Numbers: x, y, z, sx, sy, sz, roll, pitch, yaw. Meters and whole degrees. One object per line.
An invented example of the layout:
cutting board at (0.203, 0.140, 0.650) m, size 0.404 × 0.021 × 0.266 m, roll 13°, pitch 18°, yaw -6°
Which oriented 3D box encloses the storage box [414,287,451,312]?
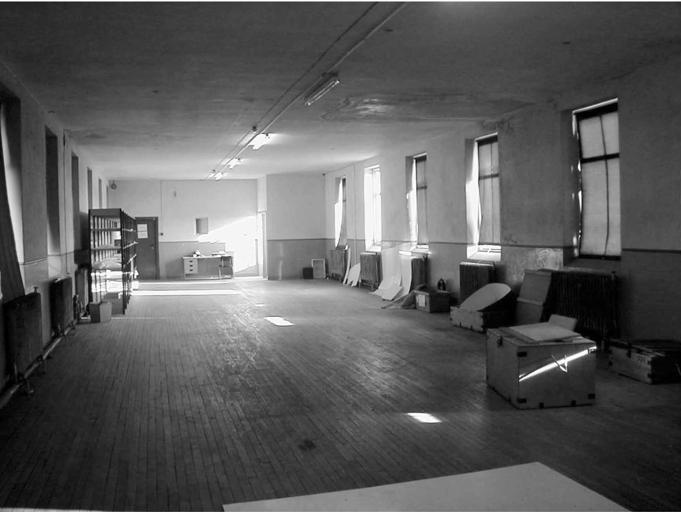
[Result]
storage box at (1.979, 0.937, 9.608) m, size 0.437 × 0.352 × 0.577 m, roll 1°, pitch 0°, yaw -16°

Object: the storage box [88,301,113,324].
storage box at (-4.769, 1.115, 9.014) m, size 0.381 × 0.375 × 0.381 m, roll 3°, pitch -13°, yaw -29°

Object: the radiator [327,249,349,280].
radiator at (-0.056, 0.298, 15.841) m, size 0.409 × 1.004 × 1.022 m, roll 2°, pitch -4°, yaw -14°

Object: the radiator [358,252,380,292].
radiator at (0.869, 0.460, 13.235) m, size 0.342 × 1.011 × 1.008 m, roll 2°, pitch -5°, yaw -12°

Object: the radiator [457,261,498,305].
radiator at (2.584, 0.608, 8.750) m, size 0.094 × 0.848 × 0.861 m, roll -4°, pitch 8°, yaw -23°

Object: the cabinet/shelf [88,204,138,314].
cabinet/shelf at (-5.719, 0.100, 11.332) m, size 0.371 × 1.483 × 2.946 m, roll 0°, pitch 2°, yaw -6°

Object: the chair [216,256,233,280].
chair at (-4.355, 0.367, 17.211) m, size 0.556 × 0.880 × 0.783 m, roll -2°, pitch 4°, yaw -17°

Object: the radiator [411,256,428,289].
radiator at (1.848, 0.368, 10.527) m, size 0.383 × 0.746 × 0.139 m, roll 0°, pitch 4°, yaw 12°

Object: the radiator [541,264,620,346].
radiator at (3.434, 0.605, 6.611) m, size 0.107 × 0.742 × 0.773 m, roll -20°, pitch 13°, yaw -33°

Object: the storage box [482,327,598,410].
storage box at (2.027, 0.980, 4.569) m, size 0.794 × 0.646 × 0.816 m, roll 0°, pitch 0°, yaw -16°
